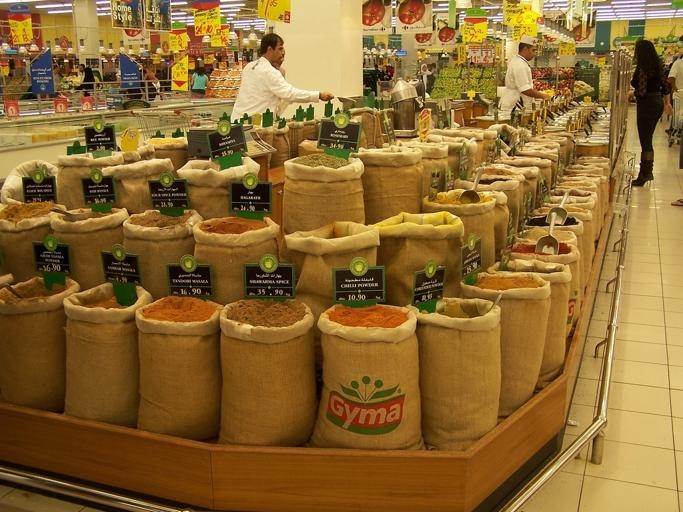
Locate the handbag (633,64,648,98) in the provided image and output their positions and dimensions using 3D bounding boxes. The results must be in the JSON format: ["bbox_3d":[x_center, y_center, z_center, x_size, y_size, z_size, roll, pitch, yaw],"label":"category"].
[{"bbox_3d":[4.645,-2.715,7.883,0.156,0.438,0.309,1,-2,10],"label":"handbag"}]

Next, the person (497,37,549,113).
[{"bbox_3d":[2.488,-2.466,6.883,0.569,1.011,1.120,4,19,17],"label":"person"}]

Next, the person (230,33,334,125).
[{"bbox_3d":[-0.729,-1.780,4.982,0.727,0.781,0.763,-7,19,-17],"label":"person"}]

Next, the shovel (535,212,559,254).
[{"bbox_3d":[1.111,-0.149,2.715,0.087,0.066,0.412,9,64,16],"label":"shovel"}]

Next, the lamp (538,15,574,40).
[{"bbox_3d":[8.081,-8.504,18.910,1.018,0.634,4.358,9,22,27],"label":"lamp"}]

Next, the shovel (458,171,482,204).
[{"bbox_3d":[0.639,-0.323,2.496,0.077,0.036,0.249,10,44,18],"label":"shovel"}]

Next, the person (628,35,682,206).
[{"bbox_3d":[4.808,-2.196,8.002,0.652,2.255,0.439,0,18,5],"label":"person"}]
